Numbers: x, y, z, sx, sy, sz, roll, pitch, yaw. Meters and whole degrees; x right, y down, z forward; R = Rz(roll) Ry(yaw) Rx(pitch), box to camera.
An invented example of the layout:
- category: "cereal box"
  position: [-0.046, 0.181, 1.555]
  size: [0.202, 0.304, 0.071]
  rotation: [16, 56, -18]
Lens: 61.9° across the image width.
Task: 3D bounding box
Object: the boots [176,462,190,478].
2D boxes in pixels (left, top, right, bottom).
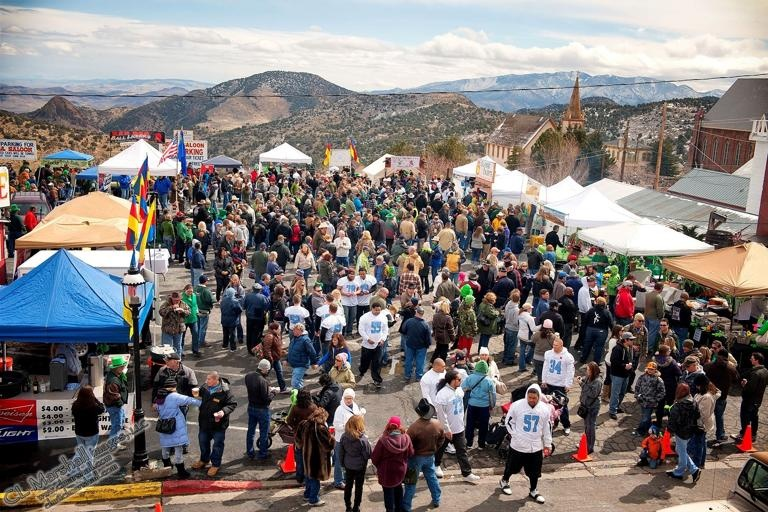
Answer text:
- category: "boots"
  position: [-4.325, 4.595, 13.801]
  size: [0.271, 0.357, 0.215]
  rotation: [-2, 3, -21]

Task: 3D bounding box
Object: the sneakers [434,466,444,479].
- category: "sneakers"
  position: [1.248, 4.820, 14.316]
  size: [0.130, 0.149, 0.345]
  rotation: [0, -6, -12]

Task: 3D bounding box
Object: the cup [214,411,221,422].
- category: "cup"
  position: [-3.532, 3.430, 13.674]
  size: [0.184, 0.138, 0.064]
  rotation: [-38, 25, 20]

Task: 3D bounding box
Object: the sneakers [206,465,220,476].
- category: "sneakers"
  position: [-3.707, 4.668, 13.950]
  size: [0.282, 0.193, 0.222]
  rotation: [-2, 2, -20]

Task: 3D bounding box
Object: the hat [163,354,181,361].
- category: "hat"
  position: [-4.751, 2.251, 14.335]
  size: [0.270, 0.134, 0.199]
  rotation: [18, 6, 12]

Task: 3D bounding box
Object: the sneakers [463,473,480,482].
- category: "sneakers"
  position: [1.954, 4.914, 14.224]
  size: [0.315, 0.135, 0.162]
  rotation: [-1, 4, 0]

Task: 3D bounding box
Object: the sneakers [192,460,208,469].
- category: "sneakers"
  position: [-4.046, 4.596, 14.104]
  size: [0.319, 0.128, 0.144]
  rotation: [6, 1, -15]

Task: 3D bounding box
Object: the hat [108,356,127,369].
- category: "hat"
  position: [-5.955, 2.409, 14.432]
  size: [0.413, 0.151, 0.362]
  rotation: [-5, 7, -36]

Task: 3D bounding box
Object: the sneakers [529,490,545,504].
- category: "sneakers"
  position: [3.295, 5.182, 13.794]
  size: [0.150, 0.153, 0.366]
  rotation: [-4, -4, -25]

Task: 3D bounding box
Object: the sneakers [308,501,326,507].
- category: "sneakers"
  position: [-1.362, 5.145, 13.334]
  size: [0.250, 0.100, 0.114]
  rotation: [-4, 10, -6]

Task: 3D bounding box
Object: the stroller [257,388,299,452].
- category: "stroller"
  position: [-2.530, 3.800, 14.787]
  size: [0.869, 1.074, 1.173]
  rotation: [17, 2, 12]

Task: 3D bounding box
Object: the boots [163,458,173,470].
- category: "boots"
  position: [-4.698, 4.478, 13.921]
  size: [0.197, 0.277, 0.324]
  rotation: [-2, 2, -19]

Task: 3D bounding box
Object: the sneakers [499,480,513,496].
- category: "sneakers"
  position: [2.682, 5.015, 13.991]
  size: [0.280, 0.301, 0.275]
  rotation: [-1, 2, -6]

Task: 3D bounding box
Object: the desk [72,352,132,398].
- category: "desk"
  position: [-6.838, 2.762, 15.489]
  size: [1.074, 0.468, 1.065]
  rotation: [2, 9, 11]

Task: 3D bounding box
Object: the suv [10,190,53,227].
- category: "suv"
  position: [-14.507, -2.033, 26.483]
  size: [1.750, 1.538, 2.782]
  rotation: [-1, 2, -30]

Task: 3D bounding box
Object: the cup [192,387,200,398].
- category: "cup"
  position: [-4.074, 2.966, 13.892]
  size: [0.168, 0.183, 0.200]
  rotation: [1, 11, -2]

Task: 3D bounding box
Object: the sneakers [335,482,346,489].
- category: "sneakers"
  position: [-0.922, 4.983, 13.917]
  size: [0.260, 0.113, 0.110]
  rotation: [-1, 5, 5]

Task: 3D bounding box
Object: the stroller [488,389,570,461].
- category: "stroller"
  position: [3.500, 3.806, 14.781]
  size: [2.032, 1.280, 1.249]
  rotation: [-14, 21, -22]

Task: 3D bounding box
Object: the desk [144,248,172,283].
- category: "desk"
  position: [-6.904, 0.173, 19.474]
  size: [0.909, 0.353, 1.530]
  rotation: [4, 15, -9]

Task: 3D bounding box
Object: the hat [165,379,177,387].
- category: "hat"
  position: [-4.589, 2.737, 13.793]
  size: [0.193, 0.144, 0.334]
  rotation: [-2, 2, -12]

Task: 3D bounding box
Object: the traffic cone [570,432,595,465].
- category: "traffic cone"
  position: [4.688, 4.544, 15.091]
  size: [0.581, 0.703, 0.588]
  rotation: [0, 0, -1]

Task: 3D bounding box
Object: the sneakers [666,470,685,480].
- category: "sneakers"
  position: [6.705, 5.056, 14.737]
  size: [0.387, 0.161, 0.158]
  rotation: [13, 15, 30]
